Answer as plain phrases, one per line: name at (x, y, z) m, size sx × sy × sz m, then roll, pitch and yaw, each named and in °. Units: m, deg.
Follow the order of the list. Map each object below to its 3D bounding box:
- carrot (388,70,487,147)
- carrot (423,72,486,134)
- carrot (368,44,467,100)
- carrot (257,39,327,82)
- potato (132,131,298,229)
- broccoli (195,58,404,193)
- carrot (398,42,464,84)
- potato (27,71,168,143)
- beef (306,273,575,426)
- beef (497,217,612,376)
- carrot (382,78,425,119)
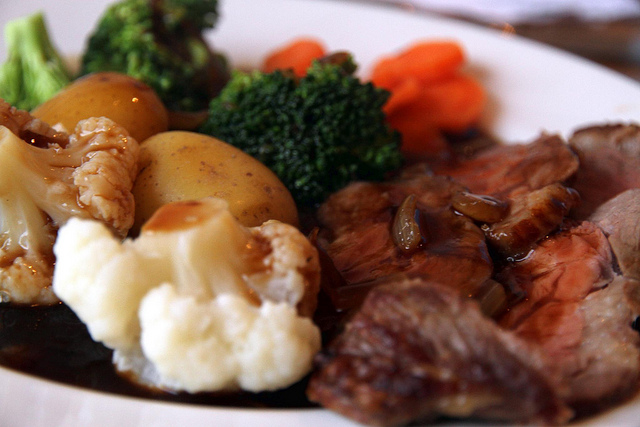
carrot at (0.301, -0.291, 1.789) m, size 0.258 × 0.188 × 0.063 m, roll -45°, pitch 22°, yaw -27°
carrot at (0.366, -0.305, 1.796) m, size 0.182 × 0.171 × 0.093 m, roll -7°, pitch 19°, yaw -13°
carrot at (0.249, -0.378, 1.701) m, size 0.202 × 0.047 × 0.198 m, roll -20°, pitch 18°, yaw -12°
carrot at (-0.057, -0.396, 1.607) m, size 0.171 × 0.041 × 0.166 m, roll 1°, pitch 33°, yaw 37°
potato at (-0.222, -0.079, 1.467) m, size 0.285 × 0.146 × 0.211 m, roll 24°, pitch 2°, yaw 4°
broccoli at (-0.050, -0.212, 1.439) m, size 0.405 × 0.299 × 0.135 m, roll 0°, pitch 4°, yaw -5°
carrot at (0.297, -0.407, 1.761) m, size 0.116 × 0.065 × 0.168 m, roll 33°, pitch 52°, yaw 22°
potato at (-0.533, -0.243, 1.651) m, size 0.330 × 0.149 × 0.168 m, roll -11°, pitch 67°, yaw -14°
beef at (0.225, 0.263, 1.137) m, size 0.469 × 0.220 × 0.192 m, roll 9°, pitch 47°, yaw 2°
beef at (0.477, 0.165, 1.325) m, size 0.189 × 0.072 × 0.307 m, roll 20°, pitch 66°, yaw 32°
carrot at (0.213, -0.290, 1.656) m, size 0.080 × 0.097 × 0.151 m, roll -3°, pitch 18°, yaw -2°
